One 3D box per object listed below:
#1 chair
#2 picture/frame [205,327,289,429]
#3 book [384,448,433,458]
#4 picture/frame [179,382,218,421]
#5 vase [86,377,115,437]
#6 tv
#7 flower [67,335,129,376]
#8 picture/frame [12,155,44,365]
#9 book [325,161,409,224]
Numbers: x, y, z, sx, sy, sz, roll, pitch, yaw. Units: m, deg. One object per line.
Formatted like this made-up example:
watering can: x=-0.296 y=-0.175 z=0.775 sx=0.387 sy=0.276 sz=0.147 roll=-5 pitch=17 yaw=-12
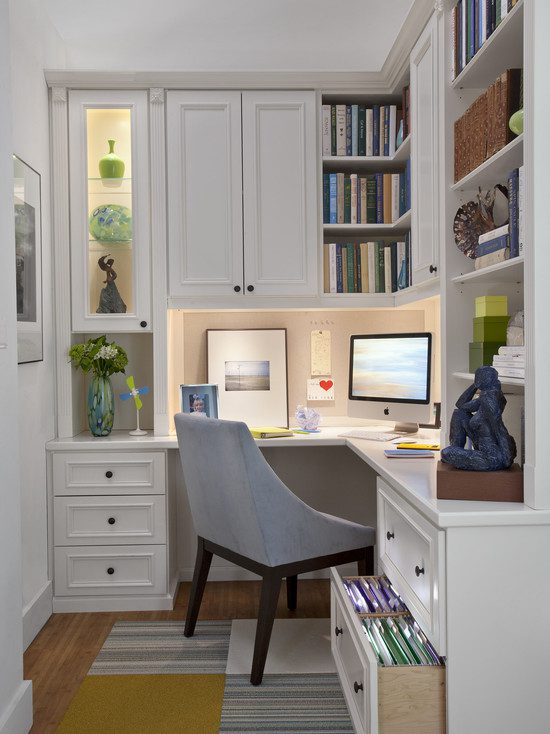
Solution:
chair: x=0.010 y=0.608 z=2.195 sx=0.588 sy=0.935 sz=0.643 roll=-1 pitch=3 yaw=37
picture/frame: x=-0.152 y=0.069 z=2.955 sx=0.412 sy=0.659 sz=0.021 roll=-1 pitch=-3 yaw=-5
book: x=0.461 y=0.296 z=2.029 sx=0.163 sy=0.013 sz=0.138 roll=-1 pitch=0 yaw=16
picture/frame: x=-0.343 y=0.159 z=2.674 sx=0.128 sy=0.192 sz=0.013 roll=0 pitch=0 yaw=-12
vase: x=-0.819 y=0.186 z=2.783 sx=0.105 sy=0.280 sz=0.105 roll=0 pitch=-1 yaw=-24
tv: x=0.505 y=0.047 z=2.606 sx=0.120 sy=0.395 sz=0.383 roll=5 pitch=-4 yaw=-34
flower: x=-0.819 y=-0.062 z=2.753 sx=0.192 sy=0.150 sz=0.197 roll=-7 pitch=26 yaw=-42
picture/frame: x=-0.964 y=-0.414 z=2.313 sx=0.065 sy=0.797 sz=0.377 roll=0 pitch=-1 yaw=-17
book: x=0.408 y=-0.790 z=2.765 sx=0.374 sy=0.237 sz=0.061 roll=-1 pitch=-1 yaw=7
